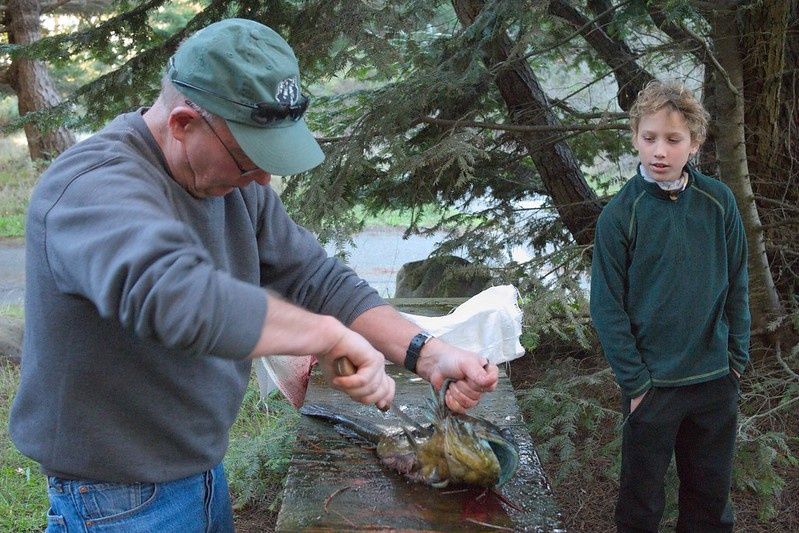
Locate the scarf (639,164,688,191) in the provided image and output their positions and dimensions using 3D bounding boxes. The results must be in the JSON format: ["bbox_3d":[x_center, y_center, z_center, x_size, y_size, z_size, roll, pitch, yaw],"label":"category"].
[{"bbox_3d":[1.630,-0.542,4.238,0.198,0.087,0.168,11,-23,2],"label":"scarf"}]

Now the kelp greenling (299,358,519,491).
[{"bbox_3d":[0.012,0.990,3.961,1.241,0.582,0.995,-1,9,-23],"label":"kelp greenling"}]

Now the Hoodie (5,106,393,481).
[{"bbox_3d":[-1.021,0.232,3.564,1.850,1.748,1.519,-2,0,22],"label":"Hoodie"}]

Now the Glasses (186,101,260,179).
[{"bbox_3d":[-0.774,-0.578,3.092,0.224,0.322,0.262,-12,22,-42],"label":"Glasses"}]

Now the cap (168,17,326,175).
[{"bbox_3d":[-0.689,-0.723,3.028,0.575,0.712,0.182,-14,2,-6],"label":"cap"}]
